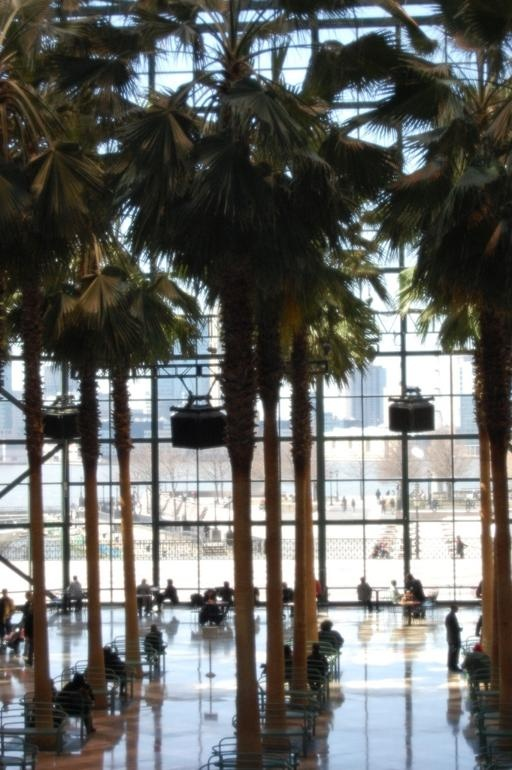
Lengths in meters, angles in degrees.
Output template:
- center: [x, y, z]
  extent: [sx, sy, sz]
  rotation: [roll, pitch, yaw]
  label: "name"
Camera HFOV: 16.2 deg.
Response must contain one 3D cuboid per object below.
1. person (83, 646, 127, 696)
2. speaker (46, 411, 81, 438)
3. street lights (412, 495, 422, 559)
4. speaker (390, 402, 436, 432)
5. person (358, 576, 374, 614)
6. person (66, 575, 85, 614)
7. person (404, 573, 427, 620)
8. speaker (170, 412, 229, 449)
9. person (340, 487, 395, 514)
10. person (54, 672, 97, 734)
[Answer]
- center: [-2.015, 3.876, 24.364]
  extent: [0.440, 0.975, 0.544]
  rotation: [2, 7, 10]
  label: "person"
- center: [-2.887, 0.577, 26.639]
  extent: [0.462, 0.541, 0.548]
  rotation: [-1, -9, 0]
  label: "speaker"
- center: [3.037, 2.745, 34.385]
  extent: [0.135, 1.107, 0.112]
  rotation: [-2, -8, 6]
  label: "street lights"
- center: [2.360, 0.541, 27.544]
  extent: [0.404, 0.496, 0.500]
  rotation: [0, -3, 2]
  label: "speaker"
- center: [2.025, 3.942, 33.661]
  extent: [0.300, 0.413, 1.024]
  rotation: [2, -35, 9]
  label: "person"
- center: [-3.438, 3.980, 34.346]
  extent: [0.342, 0.690, 0.713]
  rotation: [0, -10, -8]
  label: "person"
- center: [2.809, 3.791, 32.379]
  extent: [0.357, 0.871, 0.770]
  rotation: [-2, -10, 5]
  label: "person"
- center: [-0.796, 0.591, 23.833]
  extent: [0.691, 0.576, 0.583]
  rotation: [2, -8, 1]
  label: "speaker"
- center: [2.123, 2.230, 34.522]
  extent: [1.025, 0.446, 0.094]
  rotation: [-4, -9, 9]
  label: "person"
- center: [-2.201, 3.965, 22.311]
  extent: [0.437, 1.153, 0.558]
  rotation: [0, 7, -8]
  label: "person"
